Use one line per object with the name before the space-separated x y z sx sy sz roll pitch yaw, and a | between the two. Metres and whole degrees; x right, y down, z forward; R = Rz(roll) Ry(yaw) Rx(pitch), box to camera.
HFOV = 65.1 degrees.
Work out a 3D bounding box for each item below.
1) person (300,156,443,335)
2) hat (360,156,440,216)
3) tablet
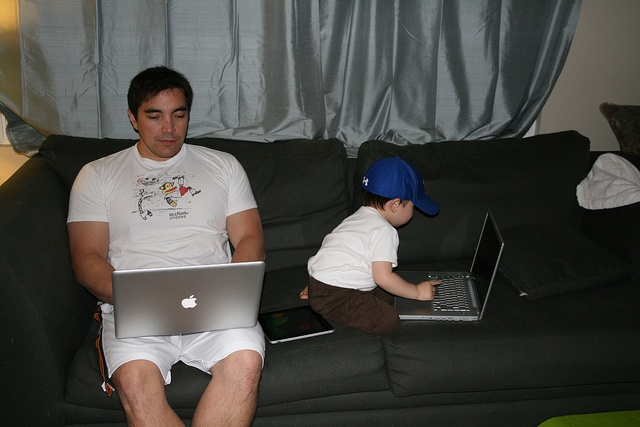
person | 0.195 0.108 2.435 0.551 0.771 0.730 -12 22 -43
hat | 0.405 -0.155 2.422 0.421 0.206 0.262 11 17 -7
tablet | -0.092 0.491 2.218 0.364 0.037 0.264 -10 27 -25
